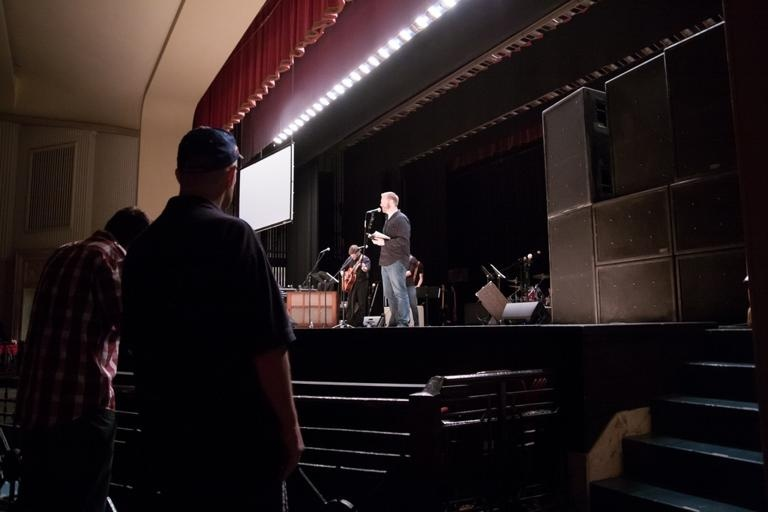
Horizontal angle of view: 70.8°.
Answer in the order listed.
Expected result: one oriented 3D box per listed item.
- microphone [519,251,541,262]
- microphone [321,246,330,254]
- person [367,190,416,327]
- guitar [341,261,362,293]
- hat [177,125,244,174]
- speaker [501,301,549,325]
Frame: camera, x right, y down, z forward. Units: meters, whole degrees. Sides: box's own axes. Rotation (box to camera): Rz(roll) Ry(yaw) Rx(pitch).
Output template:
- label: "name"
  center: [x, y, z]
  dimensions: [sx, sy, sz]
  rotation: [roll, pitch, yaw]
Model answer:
- label: "microphone"
  center: [3.049, -0.023, 11.146]
  dimensions: [0.147, 0.113, 0.407]
  rotation: [29, 30, 36]
- label: "microphone"
  center: [-1.144, -0.142, 10.469]
  dimensions: [0.210, 0.116, 0.119]
  rotation: [-14, 9, -38]
- label: "person"
  center: [0.100, -0.023, 6.819]
  dimensions: [0.470, 1.764, 0.641]
  rotation: [-2, -7, 1]
- label: "guitar"
  center: [-0.512, 0.313, 8.716]
  dimensions: [0.073, 0.544, 0.246]
  rotation: [21, 35, -12]
- label: "hat"
  center: [-0.897, -0.585, 2.767]
  dimensions: [0.253, 0.196, 0.372]
  rotation: [4, 27, 16]
- label: "speaker"
  center: [1.647, 0.618, 6.016]
  dimensions: [0.730, 0.242, 0.412]
  rotation: [3, -9, -44]
